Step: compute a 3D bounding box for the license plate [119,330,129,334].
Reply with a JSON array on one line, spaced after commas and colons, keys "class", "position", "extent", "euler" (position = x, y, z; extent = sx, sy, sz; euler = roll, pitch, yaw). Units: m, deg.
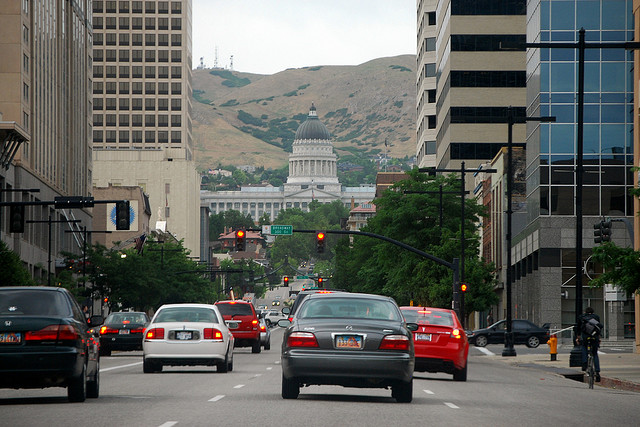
[{"class": "license plate", "position": [-9.458, 5.671, 63.253], "extent": [0.424, 0.181, 0.038], "euler": [0, -6, -1]}]

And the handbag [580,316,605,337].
[{"class": "handbag", "position": [10.641, 4.409, 51.516], "extent": [0.753, 0.816, 0.496], "euler": [-2, -6, 11]}]

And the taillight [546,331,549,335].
[{"class": "taillight", "position": [14.054, 7.313, 80.902], "extent": [0.131, 0.139, 0.245], "euler": [-1, -10, 8]}]

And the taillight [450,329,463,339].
[{"class": "taillight", "position": [5.163, 4.550, 49.837], "extent": [0.479, 0.353, 0.132], "euler": [0, -6, -7]}]

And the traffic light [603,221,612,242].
[{"class": "traffic light", "position": [12.659, 0.834, 57.952], "extent": [0.296, 0.983, 1.695], "euler": [-2, -7, 14]}]

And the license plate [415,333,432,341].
[{"class": "license plate", "position": [3.907, 4.650, 49.773], "extent": [0.618, 0.286, 0.128], "euler": [-1, -6, 3]}]

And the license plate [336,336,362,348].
[{"class": "license plate", "position": [0.928, 4.103, 42.207], "extent": [0.828, 0.362, 0.034], "euler": [0, -6, -4]}]

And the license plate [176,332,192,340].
[{"class": "license plate", "position": [-5.229, 4.664, 50.301], "extent": [0.598, 0.262, 0.038], "euler": [1, -6, -9]}]

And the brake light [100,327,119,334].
[{"class": "brake light", "position": [-10.203, 5.618, 63.421], "extent": [0.632, 0.194, 0.398], "euler": [4, -5, -4]}]

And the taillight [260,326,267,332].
[{"class": "taillight", "position": [-3.049, 6.120, 70.020], "extent": [0.243, 0.476, 0.253], "euler": [0, 2, 3]}]

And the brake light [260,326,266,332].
[{"class": "brake light", "position": [-3.053, 6.125, 70.013], "extent": [0.238, 0.463, 0.249], "euler": [1, -1, 7]}]

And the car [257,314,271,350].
[{"class": "car", "position": [-3.002, 6.429, 70.751], "extent": [0.833, 0.871, 1.872], "euler": [0, 3, 2]}]

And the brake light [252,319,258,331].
[{"class": "brake light", "position": [-3.221, 5.479, 64.907], "extent": [0.132, 0.775, 0.230], "euler": [0, -6, 32]}]

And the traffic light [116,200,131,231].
[{"class": "traffic light", "position": [-9.685, 0.037, 64.303], "extent": [0.545, 1.437, 1.459], "euler": [1, -6, -10]}]

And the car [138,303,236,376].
[{"class": "car", "position": [-5.171, 4.848, 50.949], "extent": [3.362, 2.728, 1.401], "euler": [1, -6, -15]}]

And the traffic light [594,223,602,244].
[{"class": "traffic light", "position": [12.380, 0.876, 58.357], "extent": [0.315, 0.913, 1.281], "euler": [-1, -6, 10]}]

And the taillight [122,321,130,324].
[{"class": "taillight", "position": [-9.422, 5.245, 63.540], "extent": [0.333, 0.137, 0.483], "euler": [0, -7, -7]}]

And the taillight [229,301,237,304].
[{"class": "taillight", "position": [-4.288, 4.340, 64.383], "extent": [0.382, 0.126, 0.150], "euler": [-1, -6, 5]}]

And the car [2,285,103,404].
[{"class": "car", "position": [-8.667, 4.155, 43.935], "extent": [1.979, 2.056, 4.696], "euler": [0, -2, -1]}]
